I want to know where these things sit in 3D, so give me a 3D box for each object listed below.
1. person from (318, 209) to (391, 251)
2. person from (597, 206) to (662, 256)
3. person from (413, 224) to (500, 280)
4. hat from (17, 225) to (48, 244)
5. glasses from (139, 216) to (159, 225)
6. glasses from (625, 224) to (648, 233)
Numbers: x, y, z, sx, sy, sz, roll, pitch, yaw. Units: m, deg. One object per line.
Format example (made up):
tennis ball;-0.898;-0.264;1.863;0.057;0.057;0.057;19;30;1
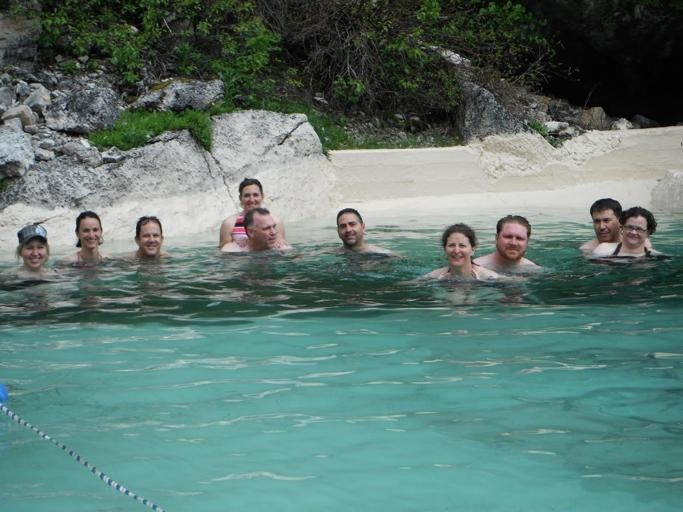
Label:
person;0.159;-0.312;8.753;1.401;0.452;0.586;-1;-5;1
person;3.662;-0.253;8.187;1.036;0.507;0.471;-1;-7;17
person;1.425;-0.030;8.135;1.491;0.506;0.511;-1;-3;7
hat;-3.676;-0.255;7.825;0.385;0.196;0.410;-4;-18;-28
glasses;-2.544;-0.476;8.617;0.234;0.060;0.226;-1;0;4
glasses;3.591;-0.338;7.968;0.256;0.117;0.094;-3;8;9
